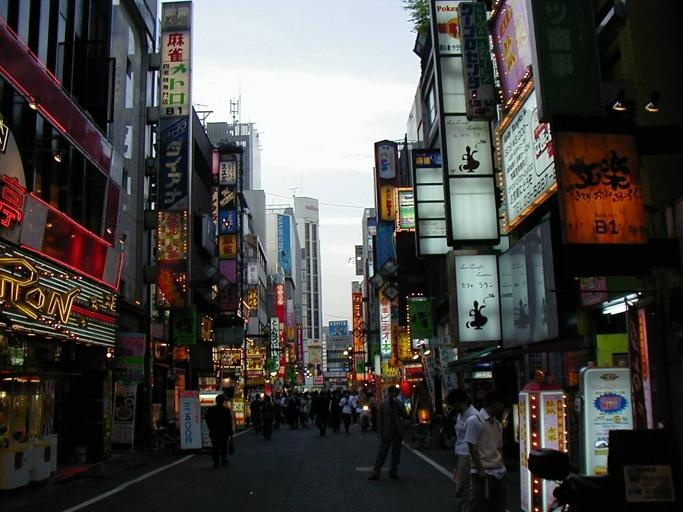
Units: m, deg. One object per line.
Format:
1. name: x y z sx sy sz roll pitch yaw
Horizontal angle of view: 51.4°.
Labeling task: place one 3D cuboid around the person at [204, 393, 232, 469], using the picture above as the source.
1. person: -3.451 4.844 19.772 0.652 1.891 1.191 0 -12 -11

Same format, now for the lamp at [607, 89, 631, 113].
1. lamp: 4.150 -2.307 10.617 0.333 0.406 0.348 3 4 -8

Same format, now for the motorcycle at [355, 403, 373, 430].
1. motorcycle: 1.226 8.446 37.305 1.221 1.754 2.747 -1 -17 3

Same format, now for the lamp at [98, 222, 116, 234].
1. lamp: -7.570 -0.875 22.806 0.251 0.285 0.489 7 7 -6

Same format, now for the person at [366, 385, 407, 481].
1. person: 1.066 4.084 16.505 0.746 2.062 0.967 -5 -12 12
